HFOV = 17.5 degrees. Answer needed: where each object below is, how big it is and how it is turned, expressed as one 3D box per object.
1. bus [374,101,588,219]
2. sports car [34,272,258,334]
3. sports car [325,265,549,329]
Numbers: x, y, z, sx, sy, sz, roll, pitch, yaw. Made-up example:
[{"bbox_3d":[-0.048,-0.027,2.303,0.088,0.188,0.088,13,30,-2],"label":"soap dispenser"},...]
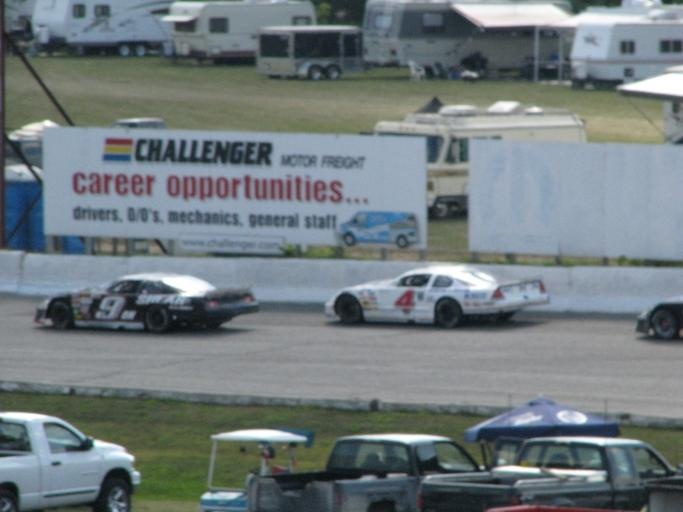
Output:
[{"bbox_3d":[4.267,-3.209,69.615,6.041,3.114,2.979,-8,13,-16],"label":"bus"},{"bbox_3d":[-5.480,1.057,60.849,6.005,1.526,2.910,4,11,32],"label":"sports car"},{"bbox_3d":[2.799,1.275,60.587,3.916,2.000,5.155,-4,3,37],"label":"sports car"}]
